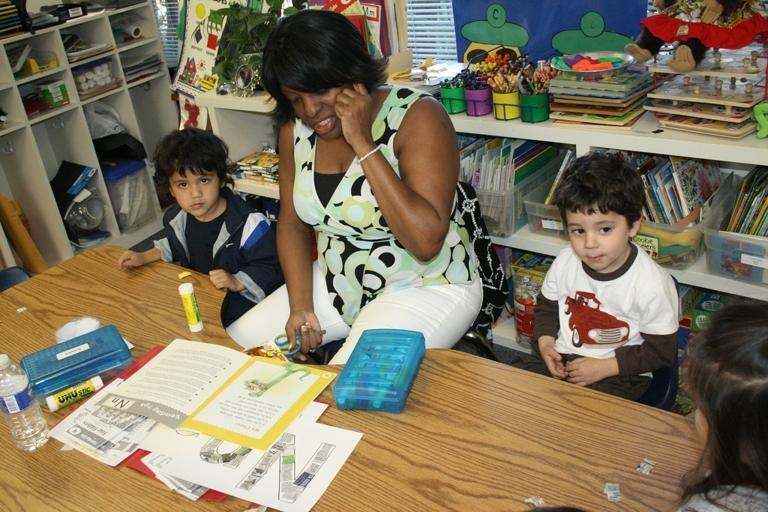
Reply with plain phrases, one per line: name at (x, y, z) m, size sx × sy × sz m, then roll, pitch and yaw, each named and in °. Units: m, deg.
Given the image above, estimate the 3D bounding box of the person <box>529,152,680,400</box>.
person at (0.751, 0.071, 1.864) m, size 0.539 × 0.814 × 0.462 m, roll -6°, pitch -6°, yaw 16°

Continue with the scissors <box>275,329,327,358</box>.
scissors at (-0.323, 0.301, 1.686) m, size 0.097 × 0.034 × 0.069 m, roll -15°, pitch 30°, yaw -43°

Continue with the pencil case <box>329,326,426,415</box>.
pencil case at (-0.007, 0.280, 1.345) m, size 0.175 × 0.061 × 0.237 m, roll 2°, pitch 35°, yaw 20°

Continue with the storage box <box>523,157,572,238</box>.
storage box at (0.819, -0.308, 2.406) m, size 0.252 × 0.145 × 0.378 m, roll 18°, pitch 55°, yaw 36°

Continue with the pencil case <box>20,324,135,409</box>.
pencil case at (-0.952, 0.322, 1.529) m, size 0.281 × 0.068 × 0.195 m, roll -23°, pitch 39°, yaw -37°

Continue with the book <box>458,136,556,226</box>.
book at (0.569, -0.376, 2.532) m, size 0.509 × 0.224 × 0.397 m, roll 16°, pitch 30°, yaw 37°

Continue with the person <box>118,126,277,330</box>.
person at (-0.812, -0.140, 2.244) m, size 0.727 × 0.524 × 1.020 m, roll -13°, pitch 28°, yaw 7°
